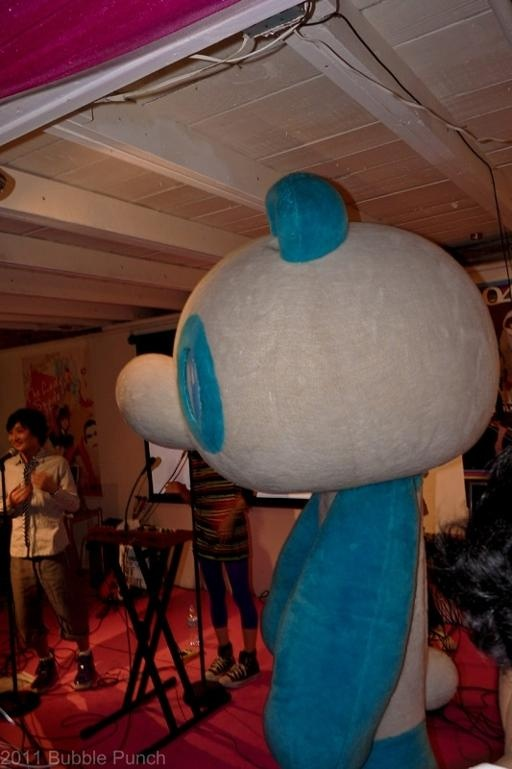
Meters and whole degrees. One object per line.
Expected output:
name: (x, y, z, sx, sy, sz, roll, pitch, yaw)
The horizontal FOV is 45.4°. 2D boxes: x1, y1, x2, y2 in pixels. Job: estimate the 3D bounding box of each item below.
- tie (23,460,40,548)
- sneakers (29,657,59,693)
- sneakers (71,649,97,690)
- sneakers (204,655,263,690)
tie: (-1.273, 0.707, 3.474, 0.098, 0.545, 0.180, -4, -3, -19)
sneakers: (-1.178, 1.605, 3.424, 0.112, 0.152, 0.255, -5, -2, -4)
sneakers: (-0.945, 1.564, 3.377, 0.127, 0.177, 0.197, -4, -2, -17)
sneakers: (-0.128, 1.527, 3.204, 0.182, 0.135, 0.219, 13, -26, -32)
